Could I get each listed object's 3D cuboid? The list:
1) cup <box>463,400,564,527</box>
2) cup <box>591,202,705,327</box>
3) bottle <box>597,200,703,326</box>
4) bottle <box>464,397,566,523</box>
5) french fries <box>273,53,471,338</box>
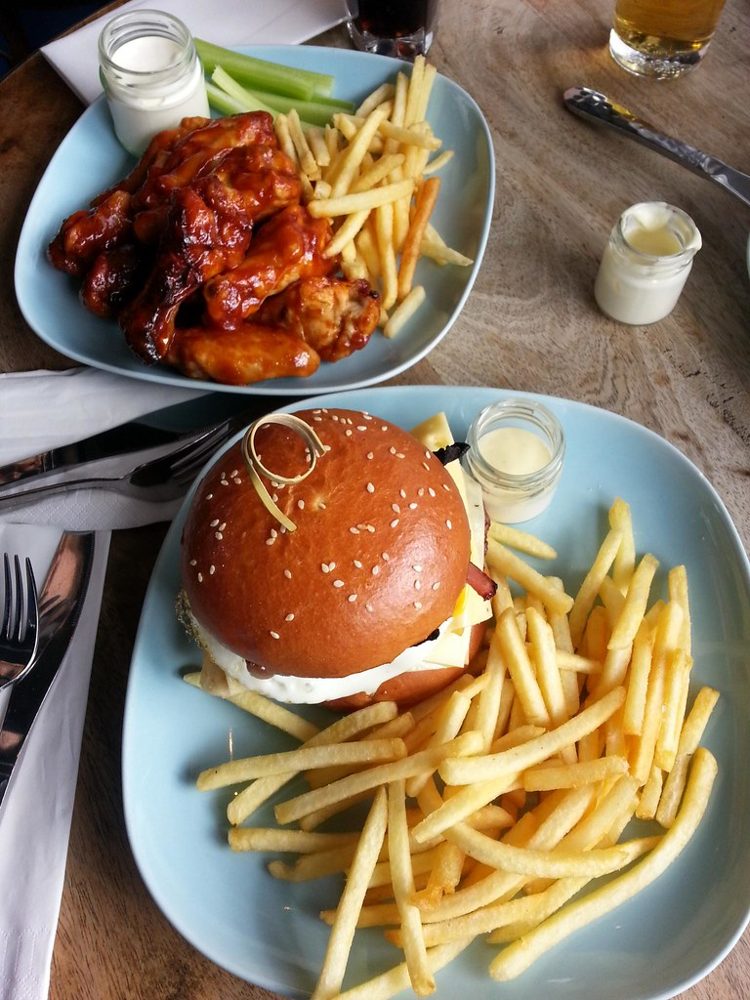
[{"bbox_3d":[0.274,-0.082,1.774,0.226,0.216,0.246,-3,64,5],"label":"cup"},{"bbox_3d":[0.644,-0.554,1.982,0.179,0.246,0.239,36,68,19],"label":"cup"},{"bbox_3d":[0.638,-0.549,1.977,0.178,0.250,0.222,40,69,18],"label":"bottle"},{"bbox_3d":[0.268,-0.091,1.781,0.225,0.215,0.245,-4,64,5],"label":"bottle"},{"bbox_3d":[-0.004,-0.714,2.037,0.298,0.474,0.101,32,33,-25],"label":"french fries"}]
